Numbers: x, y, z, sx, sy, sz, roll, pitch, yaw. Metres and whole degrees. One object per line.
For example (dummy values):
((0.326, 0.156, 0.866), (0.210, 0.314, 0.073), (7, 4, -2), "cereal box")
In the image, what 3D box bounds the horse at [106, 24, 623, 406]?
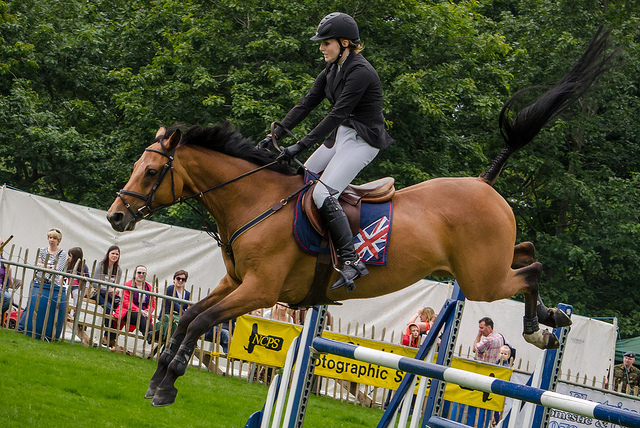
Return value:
((1.154, 0.153, 18.565), (11.346, 5.632, 2.662), (-1, 4, -24), "horse")

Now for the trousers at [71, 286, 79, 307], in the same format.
((-5.757, 1.910, 21.854), (0.142, 0.471, 0.259), (1, 9, 9), "trousers")

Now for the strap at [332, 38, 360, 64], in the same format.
((0.481, -2.947, 17.200), (0.291, 0.426, 0.361), (15, 9, 0), "strap")

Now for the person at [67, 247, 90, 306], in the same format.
((-5.654, 1.466, 22.008), (0.498, 1.264, 0.856), (-9, 10, -12), "person")

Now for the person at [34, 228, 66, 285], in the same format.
((-6.335, 1.041, 22.120), (0.812, 1.310, 0.844), (3, 3, 2), "person")
